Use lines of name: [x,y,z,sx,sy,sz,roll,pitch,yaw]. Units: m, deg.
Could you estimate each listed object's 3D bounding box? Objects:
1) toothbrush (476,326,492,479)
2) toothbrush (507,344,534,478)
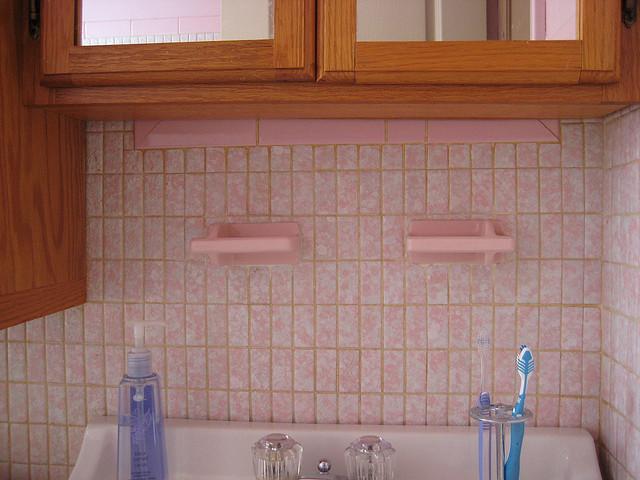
toothbrush: [0.380,0.364,1.775,0.036,0.369,0.037,1,-3,6]
toothbrush: [0.447,0.366,1.715,0.042,0.319,0.034,4,5,29]
